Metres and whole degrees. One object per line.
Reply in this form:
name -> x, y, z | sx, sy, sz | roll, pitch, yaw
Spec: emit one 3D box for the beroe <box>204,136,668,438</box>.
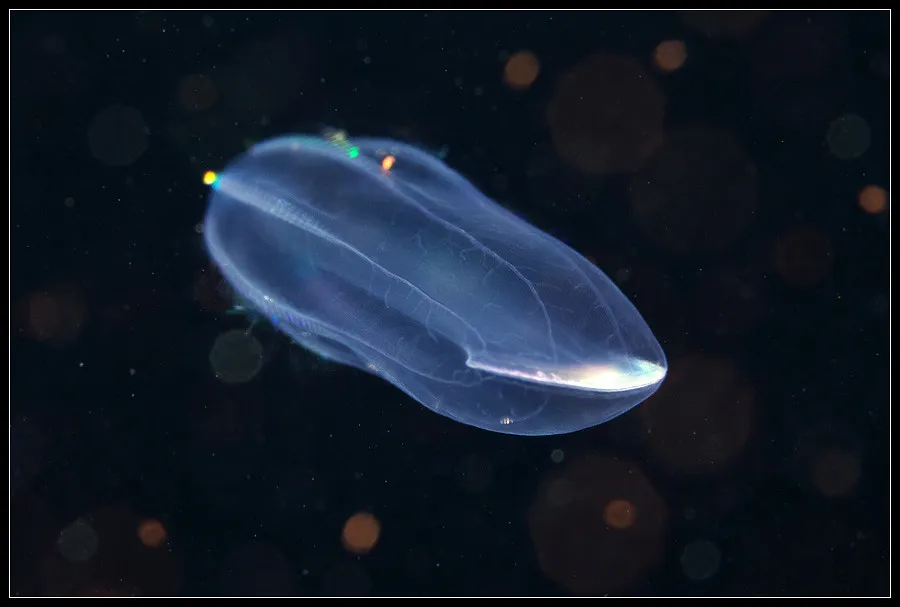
beroe -> -0.280, -0.239, 10.435 | 4.991, 1.184, 2.729 | 30, -98, 3
